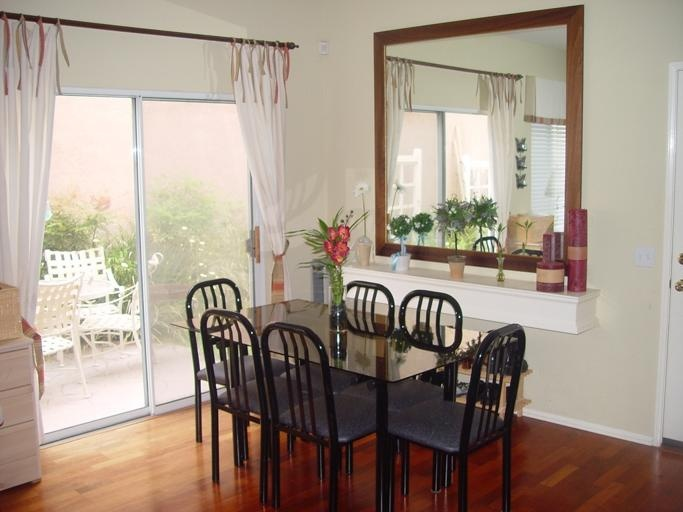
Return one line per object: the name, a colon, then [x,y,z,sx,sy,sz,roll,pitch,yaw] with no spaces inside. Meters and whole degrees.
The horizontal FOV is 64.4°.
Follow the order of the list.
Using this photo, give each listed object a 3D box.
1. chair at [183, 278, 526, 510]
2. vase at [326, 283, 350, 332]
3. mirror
chair: [0.196,0.622,3.239,1.921,1.056,1.125,10,18,37]
vase: [-0.020,0.314,3.430,0.122,0.325,0.121,-3,16,-10]
mirror: [1.101,-0.927,4.197,2.016,2.480,0.048,3,5,41]
